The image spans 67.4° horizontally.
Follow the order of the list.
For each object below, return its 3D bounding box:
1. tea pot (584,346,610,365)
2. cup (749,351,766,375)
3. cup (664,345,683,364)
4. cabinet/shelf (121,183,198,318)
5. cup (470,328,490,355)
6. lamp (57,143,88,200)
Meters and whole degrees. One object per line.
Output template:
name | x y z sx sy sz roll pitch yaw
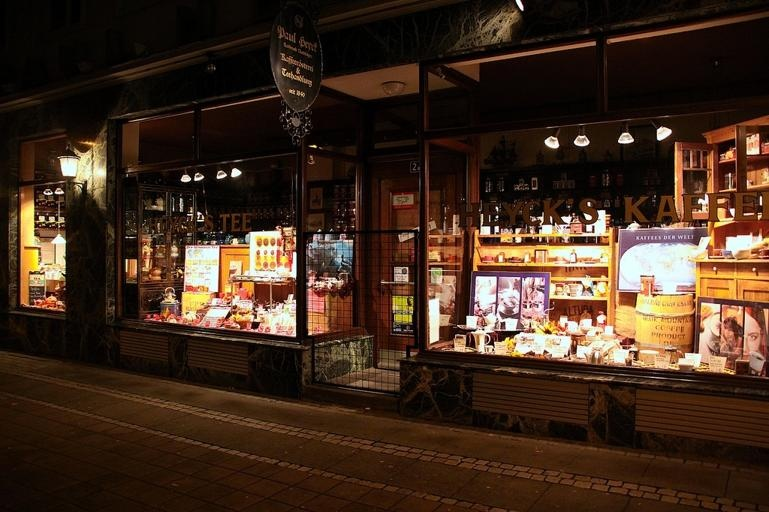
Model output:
tea pot | 2.358 1.110 6.368 0.203 0.126 0.175 2 2 7
cup | 3.776 1.095 5.814 0.208 0.165 0.160 5 -7 -28
cup | 3.154 1.068 6.206 0.204 0.194 0.119 -2 -19 33
cabinet/shelf | -3.644 -0.097 9.143 1.401 2.196 0.449 3 9 27
cup | 1.200 1.029 6.944 0.302 0.272 0.225 -2 -12 21
lamp | -5.231 -1.399 9.661 0.593 0.937 0.259 7 11 44
